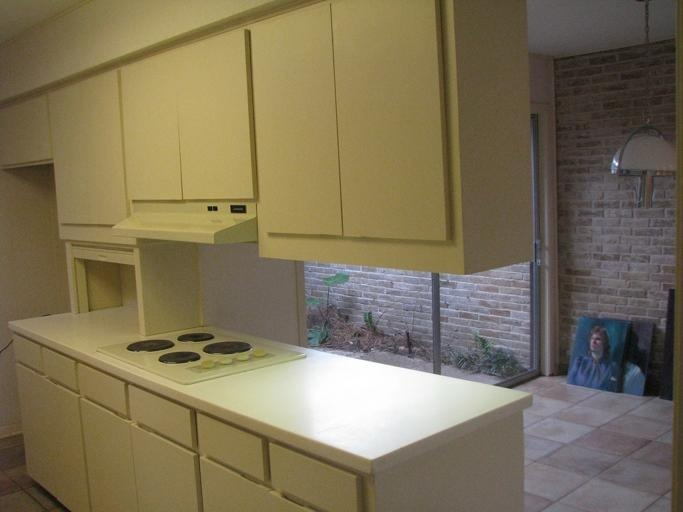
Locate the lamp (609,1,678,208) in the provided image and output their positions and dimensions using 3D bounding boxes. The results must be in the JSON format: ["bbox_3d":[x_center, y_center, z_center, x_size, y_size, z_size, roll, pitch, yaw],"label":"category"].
[{"bbox_3d":[2.262,-1.051,3.911,0.397,1.490,1.058,3,12,30],"label":"lamp"}]
